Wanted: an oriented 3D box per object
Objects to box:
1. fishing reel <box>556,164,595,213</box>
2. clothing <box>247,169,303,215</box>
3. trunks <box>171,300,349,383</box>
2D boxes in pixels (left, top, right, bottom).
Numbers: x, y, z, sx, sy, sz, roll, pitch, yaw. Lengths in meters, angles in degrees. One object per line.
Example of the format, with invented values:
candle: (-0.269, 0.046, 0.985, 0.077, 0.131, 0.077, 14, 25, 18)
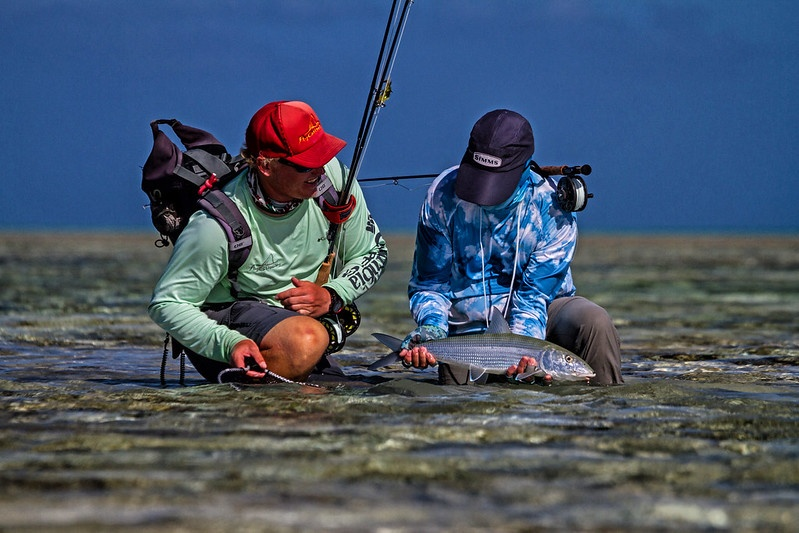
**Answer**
fishing reel: (1.490, -0.646, 10.946, 0.213, 0.447, 0.415, 3, 13, -16)
clothing: (-1.055, -0.599, 10.589, 0.431, 0.159, 0.345, 11, 1, 27)
trunks: (-1.214, 0.572, 10.896, 0.979, 0.352, 0.963, 23, -8, 14)
